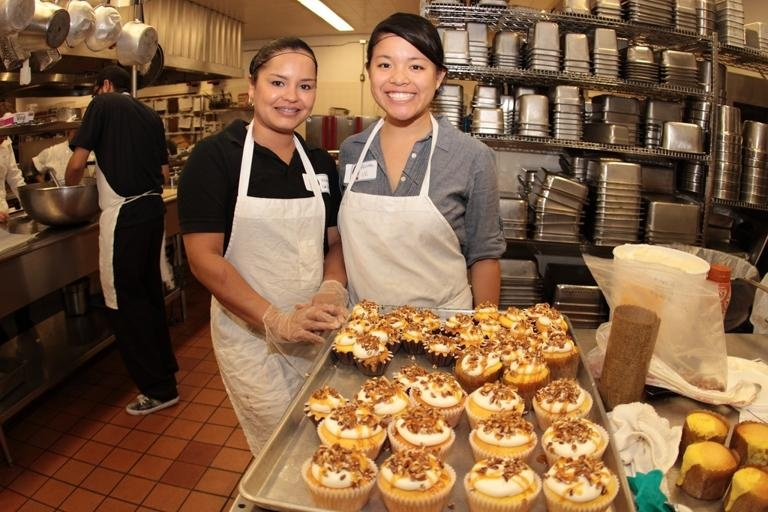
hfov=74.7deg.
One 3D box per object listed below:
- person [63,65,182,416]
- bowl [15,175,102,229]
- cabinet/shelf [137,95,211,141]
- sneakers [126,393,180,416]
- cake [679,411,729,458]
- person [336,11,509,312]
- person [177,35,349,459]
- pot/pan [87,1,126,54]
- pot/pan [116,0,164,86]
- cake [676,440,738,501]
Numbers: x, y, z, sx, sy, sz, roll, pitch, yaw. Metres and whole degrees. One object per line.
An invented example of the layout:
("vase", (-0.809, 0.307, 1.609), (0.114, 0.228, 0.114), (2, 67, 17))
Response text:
("person", (-1.823, -0.008, 3.733), (0.591, 2.235, 0.676), (-10, 22, -27))
("bowl", (-2.318, -0.382, 3.622), (0.388, 0.211, 0.403), (0, 9, 0))
("cabinet/shelf", (-3.577, -2.405, 9.004), (0.661, 0.788, 1.162), (5, 15, 38))
("sneakers", (-1.768, 1.111, 3.848), (0.338, 0.135, 0.136), (6, -2, -28))
("cake", (1.176, 0.627, 1.905), (0.151, 0.145, 0.155), (9, 9, 9))
("person", (0.180, -0.395, 2.414), (0.817, 1.388, 0.525), (-2, 19, -4))
("person", (-0.559, 0.034, 2.424), (0.744, 1.995, 0.755), (-2, 19, -5))
("pot/pan", (-2.244, -1.822, 4.074), (0.124, 0.357, 0.341), (13, -14, 8))
("pot/pan", (-2.340, -1.928, 4.983), (0.585, 0.956, 0.143), (7, 18, 39))
("cake", (1.148, 0.741, 1.788), (0.165, 0.166, 0.166), (-5, 17, -9))
